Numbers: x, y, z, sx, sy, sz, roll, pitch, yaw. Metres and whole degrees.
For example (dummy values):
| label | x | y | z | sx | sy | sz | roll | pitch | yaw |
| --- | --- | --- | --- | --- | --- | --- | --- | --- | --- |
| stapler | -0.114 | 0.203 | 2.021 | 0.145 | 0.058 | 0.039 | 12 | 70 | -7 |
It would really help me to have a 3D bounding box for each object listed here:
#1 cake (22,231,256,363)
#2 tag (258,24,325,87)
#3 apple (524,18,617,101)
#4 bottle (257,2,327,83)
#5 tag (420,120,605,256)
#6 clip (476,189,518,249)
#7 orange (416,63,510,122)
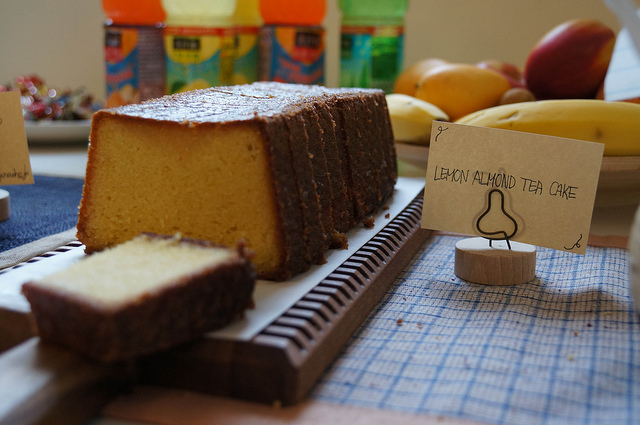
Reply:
| label | x | y | z | sx | sy | sz | roll | pitch | yaw |
| --- | --- | --- | --- | --- | --- | --- | --- | --- | --- |
| cake | -0.302 | 0.137 | 0.942 | 0.273 | 0.128 | 0.394 | 5 | 11 | 10 |
| tag | -0.108 | -0.604 | 2.006 | 0.246 | 0.212 | 0.092 | 3 | 16 | 5 |
| apple | 0.718 | -0.441 | 1.523 | 0.234 | 0.230 | 0.130 | 9 | 18 | 27 |
| bottle | -0.106 | -0.688 | 2.101 | 0.273 | 0.313 | 0.346 | -1 | 16 | -7 |
| tag | 0.390 | -0.056 | 1.092 | 0.332 | 0.242 | 0.063 | 8 | 17 | 22 |
| clip | 0.371 | 0.015 | 1.102 | 0.083 | 0.132 | 0.006 | 5 | 16 | 34 |
| orange | 0.440 | -0.366 | 1.625 | 0.232 | 0.139 | 0.177 | 3 | 10 | -2 |
